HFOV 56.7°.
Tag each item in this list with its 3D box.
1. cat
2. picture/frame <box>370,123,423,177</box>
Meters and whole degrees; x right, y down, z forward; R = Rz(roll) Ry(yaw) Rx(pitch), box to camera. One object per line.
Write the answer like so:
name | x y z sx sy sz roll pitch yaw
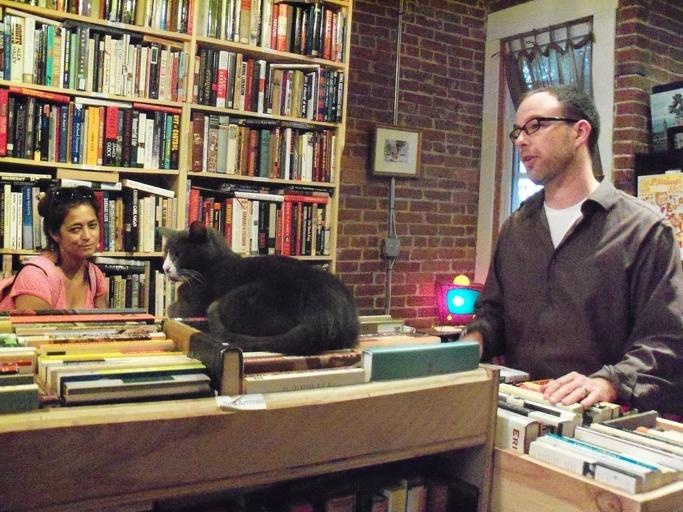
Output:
cat | -0.218 0.073 1.353 0.454 0.168 0.274 13 10 26
picture/frame | 0.323 -0.656 3.897 0.384 0.296 0.040 0 4 -32
